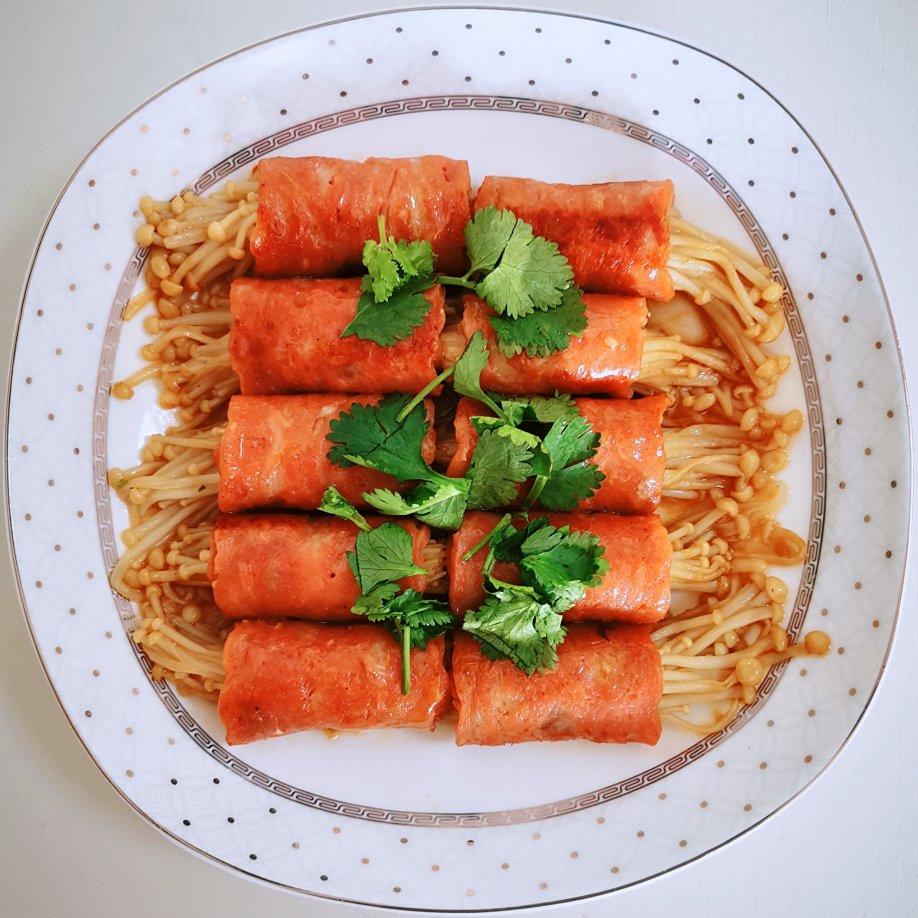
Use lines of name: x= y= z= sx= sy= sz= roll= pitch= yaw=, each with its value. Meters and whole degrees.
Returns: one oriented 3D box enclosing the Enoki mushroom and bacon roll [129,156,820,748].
Enoki mushroom and bacon roll: x=-0.018 y=-0.254 z=3.812 sx=2.427 sy=0.741 sz=2.037 roll=-29 pitch=89 yaw=0
